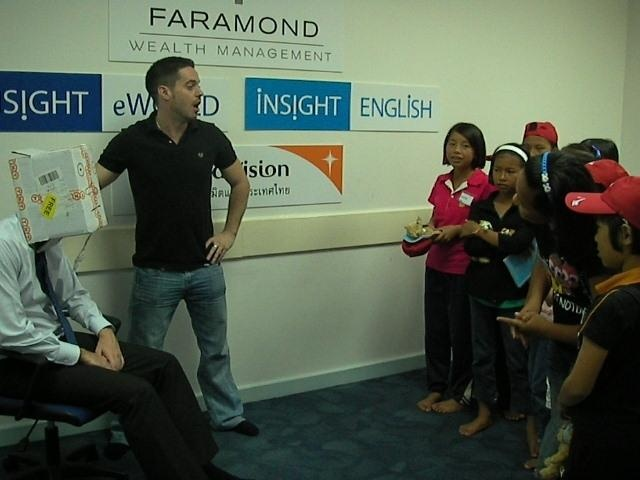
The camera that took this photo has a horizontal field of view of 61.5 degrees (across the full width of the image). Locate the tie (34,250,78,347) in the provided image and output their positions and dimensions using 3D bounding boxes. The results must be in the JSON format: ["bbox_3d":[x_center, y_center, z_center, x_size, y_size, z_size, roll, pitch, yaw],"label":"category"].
[{"bbox_3d":[-1.342,0.294,2.705,0.054,0.512,0.061,12,29,44],"label":"tie"}]

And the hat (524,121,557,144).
[{"bbox_3d":[1.627,-0.776,3.933,0.171,0.198,0.251,9,13,11],"label":"hat"}]

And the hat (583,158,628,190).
[{"bbox_3d":[1.112,-0.270,2.067,0.177,0.076,0.132,-2,11,7],"label":"hat"}]

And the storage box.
[{"bbox_3d":[-1.206,-0.206,2.490,0.376,0.432,0.258,-7,15,-33],"label":"storage box"}]
